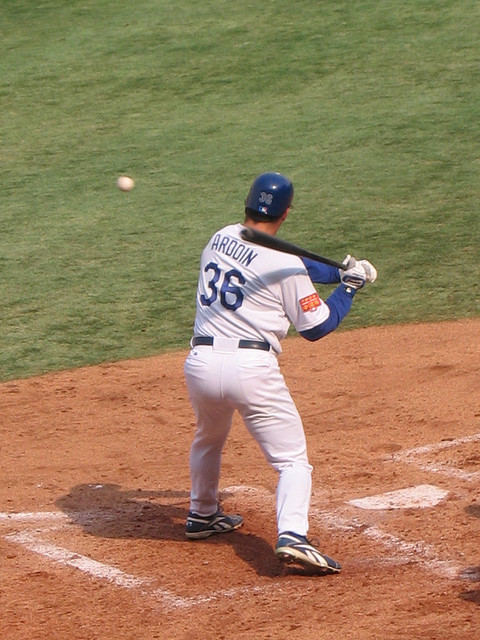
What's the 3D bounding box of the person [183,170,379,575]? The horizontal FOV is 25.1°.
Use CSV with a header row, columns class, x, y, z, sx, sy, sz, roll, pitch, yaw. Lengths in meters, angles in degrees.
class,x,y,z,sx,sy,sz,roll,pitch,yaw
person,0.133,0.230,5.573,1.136,1.824,0.894,2,4,26
